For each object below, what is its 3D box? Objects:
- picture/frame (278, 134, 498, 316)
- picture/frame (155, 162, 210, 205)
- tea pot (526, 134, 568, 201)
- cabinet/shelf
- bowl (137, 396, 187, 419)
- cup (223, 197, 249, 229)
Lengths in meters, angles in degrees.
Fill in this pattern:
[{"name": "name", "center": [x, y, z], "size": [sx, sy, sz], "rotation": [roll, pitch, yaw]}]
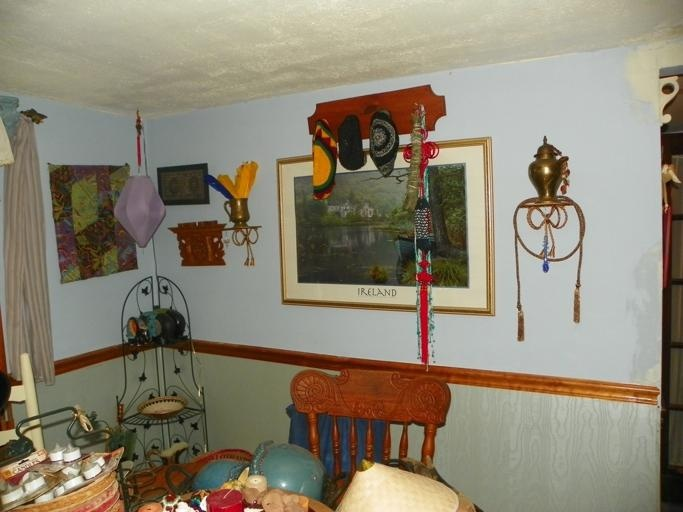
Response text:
[{"name": "picture/frame", "center": [0.354, -0.213, 3.666], "size": [1.193, 0.858, 0.037], "rotation": [0, 1, 21]}, {"name": "picture/frame", "center": [-1.246, -0.551, 4.361], "size": [0.442, 0.323, 0.019], "rotation": [-3, 3, 28]}, {"name": "tea pot", "center": [1.209, -0.511, 3.276], "size": [0.211, 0.381, 0.233], "rotation": [-1, 3, 22]}, {"name": "cabinet/shelf", "center": [-1.411, 0.887, 4.260], "size": [0.649, 1.478, 0.563], "rotation": [0, 3, 30]}, {"name": "bowl", "center": [-1.303, 1.107, 4.077], "size": [0.332, 0.088, 0.337], "rotation": [-2, 3, 0]}, {"name": "cup", "center": [-0.744, -0.304, 3.990], "size": [0.212, 0.229, 0.143], "rotation": [-1, 11, 4]}]
